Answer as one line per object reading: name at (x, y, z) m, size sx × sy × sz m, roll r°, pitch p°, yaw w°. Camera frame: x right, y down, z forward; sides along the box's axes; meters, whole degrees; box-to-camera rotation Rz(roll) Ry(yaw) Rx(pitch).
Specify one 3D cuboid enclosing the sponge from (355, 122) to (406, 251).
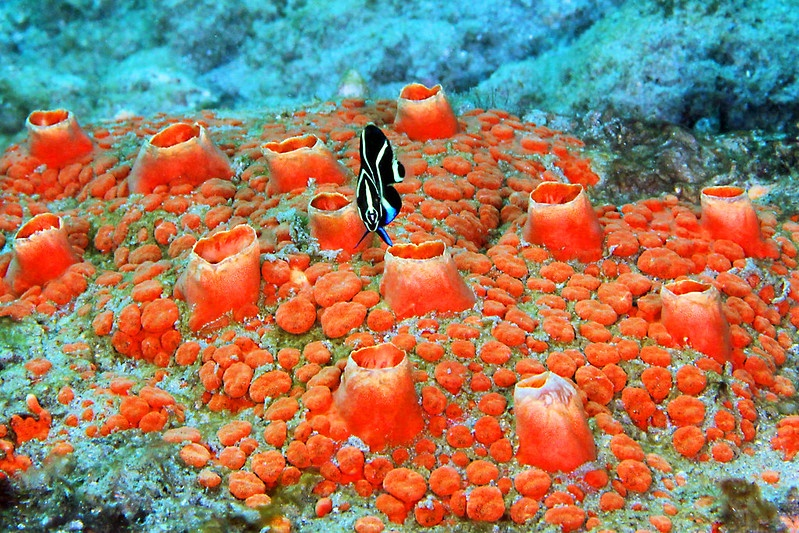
sponge at (-0.130, -0.460, 4.900) m, size 0.353 × 0.757 × 0.233 m, roll 21°, pitch 41°, yaw 36°
